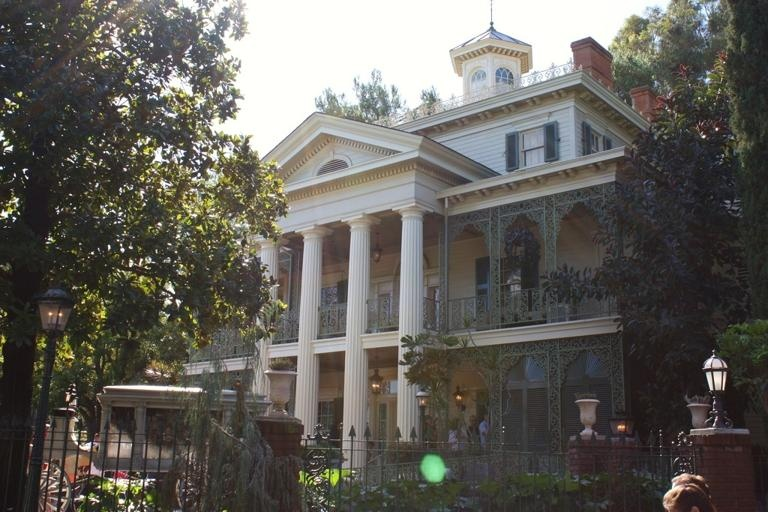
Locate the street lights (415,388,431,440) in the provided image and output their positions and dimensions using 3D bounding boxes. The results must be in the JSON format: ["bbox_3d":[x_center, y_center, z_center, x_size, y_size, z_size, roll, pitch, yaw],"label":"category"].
[{"bbox_3d":[1.117,4.756,24.666,0.439,1.650,0.433,-5,-8,39],"label":"street lights"}]

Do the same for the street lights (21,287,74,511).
[{"bbox_3d":[-5.585,2.229,13.745,0.568,3.753,0.945,7,-22,-22],"label":"street lights"}]

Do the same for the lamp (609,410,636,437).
[{"bbox_3d":[5.465,3.822,19.131,0.554,0.749,0.623,7,-16,-9],"label":"lamp"}]

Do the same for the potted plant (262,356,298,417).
[{"bbox_3d":[-1.991,2.500,15.905,0.611,1.104,0.603,1,-5,5],"label":"potted plant"}]
